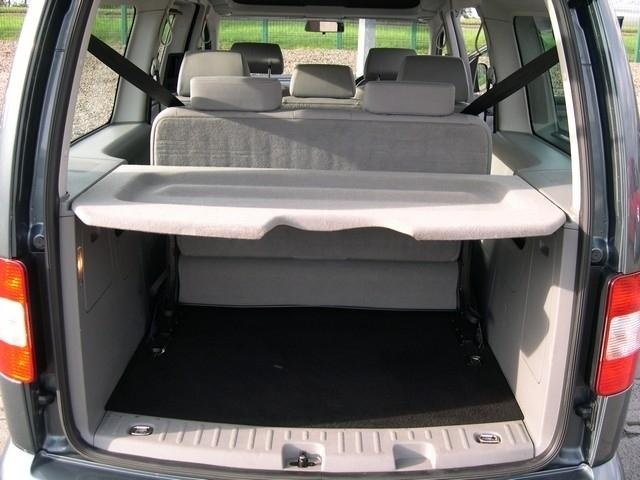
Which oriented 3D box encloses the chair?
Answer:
[{"bbox_3d":[-0.032,-0.109,2.666,1.361,1.128,0.899,1,15,-1],"label":"chair"}]
